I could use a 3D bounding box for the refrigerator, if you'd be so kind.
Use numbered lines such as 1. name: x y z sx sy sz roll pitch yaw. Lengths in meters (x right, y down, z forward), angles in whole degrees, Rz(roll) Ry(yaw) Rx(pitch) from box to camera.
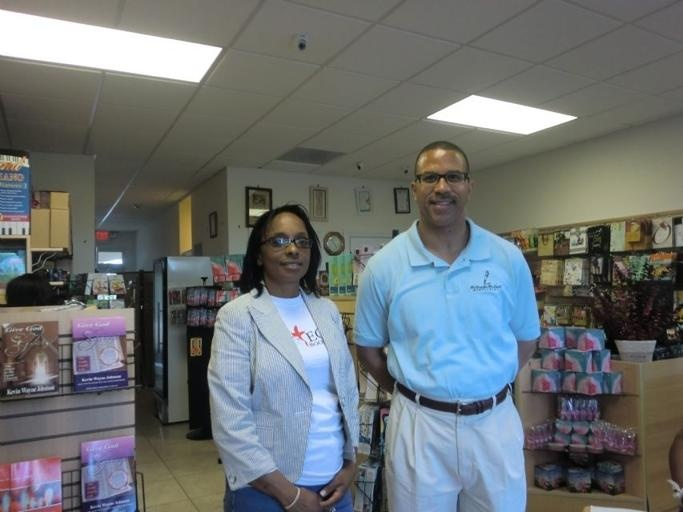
1. refrigerator: -2.289 1.159 7.211 1.077 2.112 0.655 0 1 40

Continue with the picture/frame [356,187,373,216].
1. picture/frame: 0.412 -1.054 9.715 0.469 0.688 0.065 -1 -1 -23

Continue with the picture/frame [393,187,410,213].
1. picture/frame: 1.167 -1.119 10.045 0.428 0.672 0.062 -2 3 -27

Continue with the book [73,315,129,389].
1. book: -1.289 0.520 2.693 0.332 0.528 0.054 -1 -7 -29

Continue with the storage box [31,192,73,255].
1. storage box: -3.299 -0.403 5.764 0.382 0.721 0.269 -2 1 -35

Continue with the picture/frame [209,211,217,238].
1. picture/frame: -2.332 -0.585 9.242 0.028 0.470 0.423 1 -5 -24

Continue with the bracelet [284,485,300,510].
1. bracelet: -0.209 1.051 2.209 0.018 0.074 0.076 23 15 -12

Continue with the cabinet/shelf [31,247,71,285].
1. cabinet/shelf: -3.410 0.114 5.944 0.353 0.419 0.286 -1 -8 5
